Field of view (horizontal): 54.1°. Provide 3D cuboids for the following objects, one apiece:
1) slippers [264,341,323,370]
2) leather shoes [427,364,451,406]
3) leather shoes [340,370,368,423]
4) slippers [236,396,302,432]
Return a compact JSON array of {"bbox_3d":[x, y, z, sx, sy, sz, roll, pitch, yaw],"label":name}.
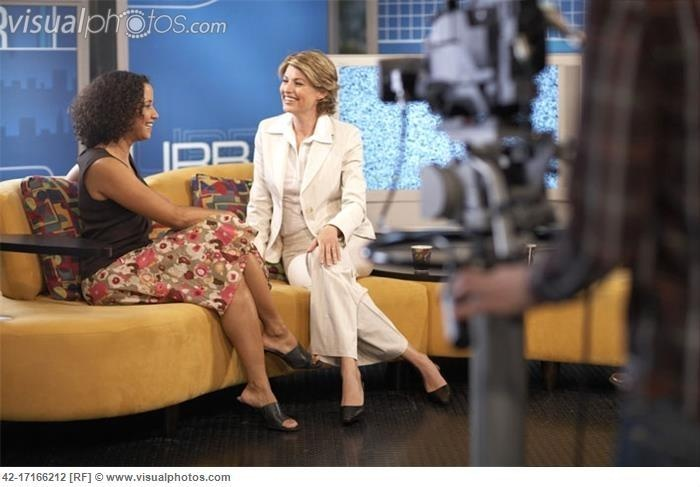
[{"bbox_3d":[-0.176,0.355,2.204,0.189,0.059,0.070,13,4,5],"label":"slippers"},{"bbox_3d":[0.310,0.488,2.352,0.051,0.157,0.062,-22,-8,7],"label":"leather shoes"},{"bbox_3d":[0.006,0.512,2.257,0.090,0.044,0.299,-8,15,4],"label":"leather shoes"},{"bbox_3d":[-0.271,0.527,2.145,0.234,0.068,0.085,19,13,32],"label":"slippers"}]
